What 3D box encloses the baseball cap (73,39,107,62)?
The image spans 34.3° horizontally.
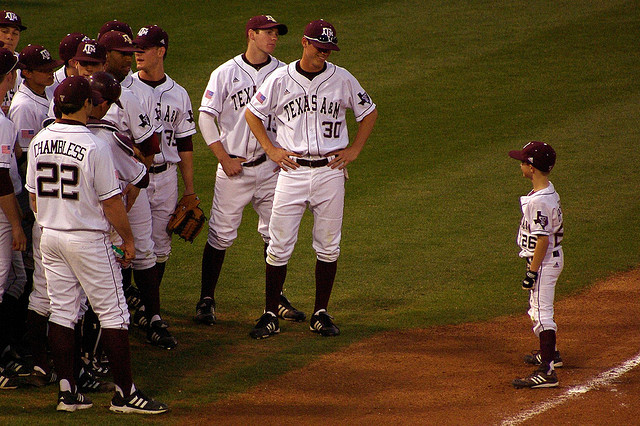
[{"bbox_3d":[-2.510,-1.763,11.340,0.358,0.228,0.369,-2,15,-11],"label":"baseball cap"}]

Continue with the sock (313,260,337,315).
[{"bbox_3d":[0.071,0.842,12.384,0.265,0.676,0.243,4,-7,26],"label":"sock"}]

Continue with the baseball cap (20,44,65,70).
[{"bbox_3d":[-3.026,-1.699,11.254,0.447,0.173,0.246,-1,23,-1],"label":"baseball cap"}]

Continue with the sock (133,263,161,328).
[{"bbox_3d":[-1.986,0.940,11.952,0.281,0.690,0.438,-2,16,-10],"label":"sock"}]

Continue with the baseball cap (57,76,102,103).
[{"bbox_3d":[-2.456,-1.266,10.520,0.347,0.230,0.477,13,15,34],"label":"baseball cap"}]

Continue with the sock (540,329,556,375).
[{"bbox_3d":[2.458,1.488,11.125,0.180,0.477,0.398,5,16,12],"label":"sock"}]

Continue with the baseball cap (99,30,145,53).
[{"bbox_3d":[-2.255,-1.911,11.572,0.389,0.212,0.329,-1,15,-10],"label":"baseball cap"}]

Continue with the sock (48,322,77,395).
[{"bbox_3d":[-2.624,1.472,10.555,0.261,0.735,0.337,-2,17,-12],"label":"sock"}]

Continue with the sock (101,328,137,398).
[{"bbox_3d":[-2.044,1.509,10.559,0.300,0.693,0.340,-3,17,-14],"label":"sock"}]

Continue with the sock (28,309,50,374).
[{"bbox_3d":[-2.954,1.357,10.891,0.193,0.704,0.116,-3,18,-14],"label":"sock"}]

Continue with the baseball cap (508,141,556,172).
[{"bbox_3d":[2.388,-0.679,11.368,0.577,0.242,0.358,19,40,25],"label":"baseball cap"}]

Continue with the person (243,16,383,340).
[{"bbox_3d":[-0.139,-0.374,12.087,1.437,3.649,0.962,0,17,-4],"label":"person"}]

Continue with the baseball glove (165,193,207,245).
[{"bbox_3d":[-1.518,0.035,12.301,0.509,0.511,0.272,14,18,18],"label":"baseball glove"}]
